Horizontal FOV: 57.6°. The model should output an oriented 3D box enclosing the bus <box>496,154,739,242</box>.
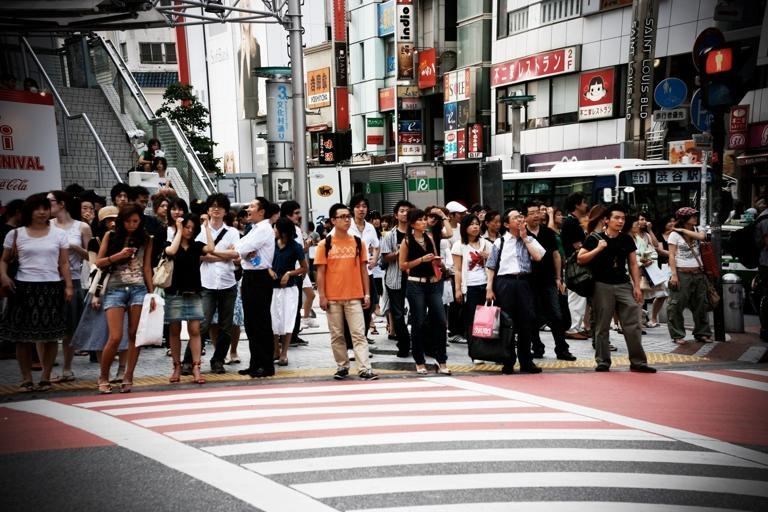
[{"bbox_3d":[6.957,-1.658,21.179,3.278,2.393,9.683,-3,3,-33],"label":"bus"}]
